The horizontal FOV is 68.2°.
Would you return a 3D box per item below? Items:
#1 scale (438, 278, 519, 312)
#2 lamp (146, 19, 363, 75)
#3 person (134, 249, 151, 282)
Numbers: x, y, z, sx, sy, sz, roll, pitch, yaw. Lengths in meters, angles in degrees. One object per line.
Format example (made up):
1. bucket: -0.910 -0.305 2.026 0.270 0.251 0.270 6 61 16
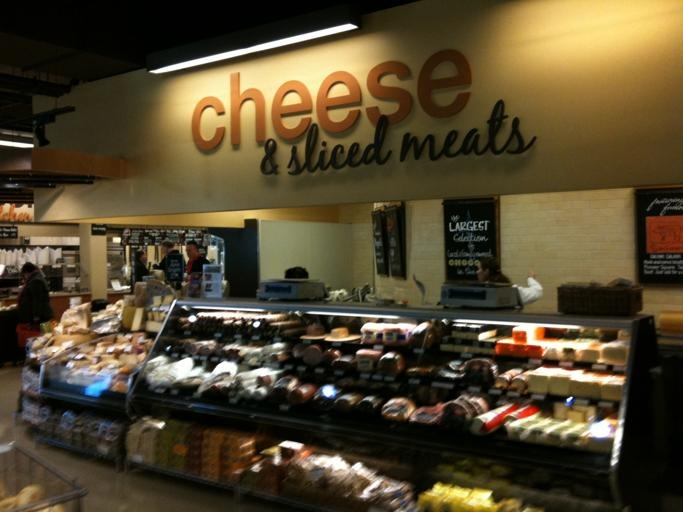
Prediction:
1. scale: 1.058 0.320 3.846 0.590 0.269 0.316 -5 10 12
2. lamp: -0.970 -2.154 5.080 2.312 0.128 0.259 -5 8 11
3. person: -4.253 0.203 10.645 0.273 0.655 0.823 -12 11 -22
